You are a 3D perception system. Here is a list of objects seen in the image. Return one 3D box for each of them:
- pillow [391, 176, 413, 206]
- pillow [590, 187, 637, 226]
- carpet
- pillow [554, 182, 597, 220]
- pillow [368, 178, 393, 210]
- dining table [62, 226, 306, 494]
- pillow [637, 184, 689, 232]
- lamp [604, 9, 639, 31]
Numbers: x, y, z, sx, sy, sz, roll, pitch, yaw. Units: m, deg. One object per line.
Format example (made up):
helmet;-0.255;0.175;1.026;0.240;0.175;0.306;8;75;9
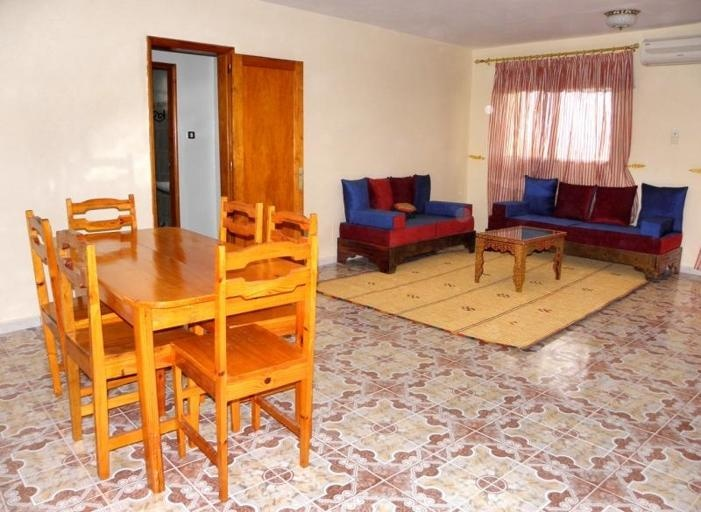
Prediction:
pillow;0.731;-0.926;7.401;0.512;0.444;0.195;-6;6;-34
pillow;3.631;-0.686;7.039;0.642;0.530;0.194;8;-13;47
carpet;1.608;0.331;6.093;3.231;0.121;2.585;-14;18;-43
pillow;3.242;-0.788;7.404;0.574;0.498;0.209;13;0;41
pillow;0.408;-0.841;7.107;0.202;0.317;0.437;23;30;35
dining table;-1.115;0.404;3.541;1.439;1.374;2.140;-9;16;-28
pillow;4.096;-0.614;6.666;0.247;0.597;0.658;11;3;-44
lamp;3.201;-2.816;6.112;0.276;0.117;0.258;-5;8;-30
